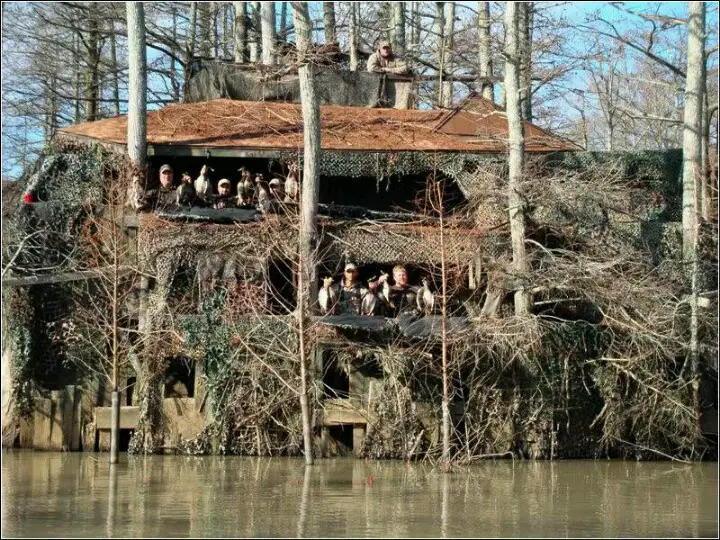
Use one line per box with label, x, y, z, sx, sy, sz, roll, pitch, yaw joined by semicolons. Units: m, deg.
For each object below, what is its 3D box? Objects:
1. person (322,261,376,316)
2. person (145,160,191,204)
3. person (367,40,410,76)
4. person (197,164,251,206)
person;-0.244;0.612;43.283;1.403;1.674;1.184;5;-27;-2
person;-4.938;-2.011;44.731;0.744;1.100;1.280;0;-24;-16
person;0.774;-6.350;51.995;0.950;1.123;1.371;-2;11;-12
person;-3.580;-2.128;45.756;0.937;1.148;1.453;1;-3;-1
